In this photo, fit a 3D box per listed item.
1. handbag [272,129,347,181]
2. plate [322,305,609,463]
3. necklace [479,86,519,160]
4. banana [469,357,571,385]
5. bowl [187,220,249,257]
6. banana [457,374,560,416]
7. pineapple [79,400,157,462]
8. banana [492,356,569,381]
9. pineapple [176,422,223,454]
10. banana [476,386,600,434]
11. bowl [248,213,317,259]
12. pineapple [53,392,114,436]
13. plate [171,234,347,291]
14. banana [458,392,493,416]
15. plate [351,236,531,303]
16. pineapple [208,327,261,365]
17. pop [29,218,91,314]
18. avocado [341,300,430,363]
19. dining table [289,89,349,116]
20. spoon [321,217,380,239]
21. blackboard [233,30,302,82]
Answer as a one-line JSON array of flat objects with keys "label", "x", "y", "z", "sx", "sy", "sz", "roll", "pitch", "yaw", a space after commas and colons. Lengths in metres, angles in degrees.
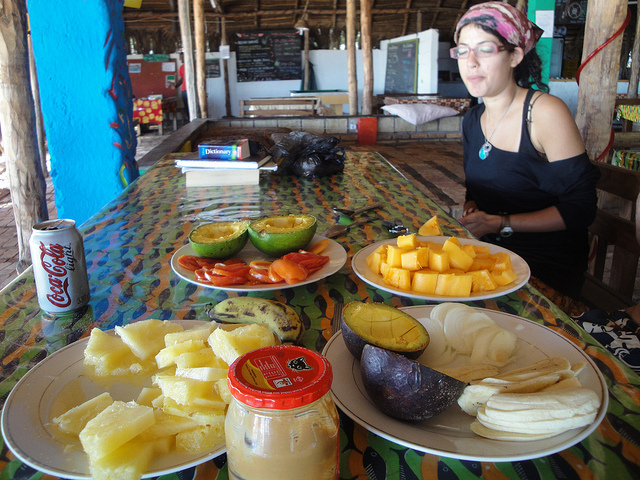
[{"label": "handbag", "x": -0.036, "y": -0.490, "z": 2.242, "sx": 0.289, "sy": 0.158, "sz": 0.364, "roll": 4, "pitch": 26, "yaw": 25}, {"label": "plate", "x": 0.238, "y": 0.199, "z": 0.738, "sx": 0.401, "sy": 0.158, "sz": 0.422, "roll": 2, "pitch": 8, "yaw": -6}, {"label": "necklace", "x": 0.833, "y": -0.536, "z": 1.850, "sx": 0.030, "sy": 0.377, "sz": 0.200, "roll": 5, "pitch": 29, "yaw": -21}, {"label": "banana", "x": 0.354, "y": 0.210, "z": 0.662, "sx": 0.117, "sy": 0.014, "sz": 0.040, "roll": -10, "pitch": 10, "yaw": -13}, {"label": "bowl", "x": -0.279, "y": -0.007, "z": 1.133, "sx": 0.121, "sy": 0.044, "sz": 0.124, "roll": -2, "pitch": 18, "yaw": 1}, {"label": "banana", "x": 0.279, "y": 0.230, "z": 0.618, "sx": 0.193, "sy": 0.041, "sz": 0.055, "roll": -10, "pitch": -8, "yaw": -9}, {"label": "pineapple", "x": -0.264, "y": 0.254, "z": 0.564, "sx": 0.077, "sy": 0.047, "sz": 0.106, "roll": -1, "pitch": 8, "yaw": -15}, {"label": "banana", "x": 0.340, "y": 0.214, "z": 0.658, "sx": 0.086, "sy": 0.017, "sz": 0.053, "roll": -20, "pitch": -5, "yaw": -11}, {"label": "pineapple", "x": -0.168, "y": 0.279, "z": 0.573, "sx": 0.077, "sy": 0.034, "sz": 0.057, "roll": -2, "pitch": 10, "yaw": -11}, {"label": "banana", "x": 0.321, "y": 0.246, "z": 0.582, "sx": 0.172, "sy": 0.046, "sz": 0.047, "roll": -6, "pitch": 21, "yaw": -5}, {"label": "bowl", "x": -0.107, "y": -0.025, "z": 1.151, "sx": 0.150, "sy": 0.084, "sz": 0.144, "roll": 1, "pitch": 12, "yaw": 0}, {"label": "pineapple", "x": -0.372, "y": 0.255, "z": 0.635, "sx": 0.094, "sy": 0.040, "sz": 0.075, "roll": -3, "pitch": 8, "yaw": -36}, {"label": "plate", "x": -0.198, "y": 0.006, "z": 1.147, "sx": 0.481, "sy": 0.122, "sz": 0.307, "roll": -10, "pitch": 15, "yaw": -33}, {"label": "banana", "x": 0.246, "y": 0.253, "z": 0.636, "sx": 0.043, "sy": 0.041, "sz": 0.012, "roll": -3, "pitch": 38, "yaw": 3}, {"label": "plate", "x": 0.354, "y": 0.030, "z": 1.130, "sx": 0.390, "sy": 0.162, "sz": 0.471, "roll": -8, "pitch": 13, "yaw": -34}, {"label": "pineapple", "x": -0.144, "y": 0.164, "z": 0.671, "sx": 0.081, "sy": 0.048, "sz": 0.090, "roll": -1, "pitch": 8, "yaw": -21}, {"label": "pop", "x": -0.609, "y": 0.065, "z": 0.938, "sx": 0.115, "sy": 0.189, "sz": 0.111, "roll": 5, "pitch": 14, "yaw": 0}, {"label": "avocado", "x": 0.115, "y": 0.152, "z": 0.756, "sx": 0.155, "sy": 0.093, "sz": 0.116, "roll": -7, "pitch": 16, "yaw": -32}, {"label": "dining table", "x": 0.176, "y": -3.962, "z": 11.466, "sx": 1.159, "sy": 0.609, "sz": 2.942, "roll": -3, "pitch": 20, "yaw": 2}, {"label": "spoon", "x": 0.110, "y": -0.041, "z": 1.423, "sx": 0.277, "sy": 0.034, "sz": 0.054, "roll": -16, "pitch": 40, "yaw": -34}, {"label": "blackboard", "x": -1.832, "y": -6.608, "z": 14.504, "sx": 2.563, "sy": 1.660, "sz": 0.188, "roll": 2, "pitch": 18, "yaw": 10}]
